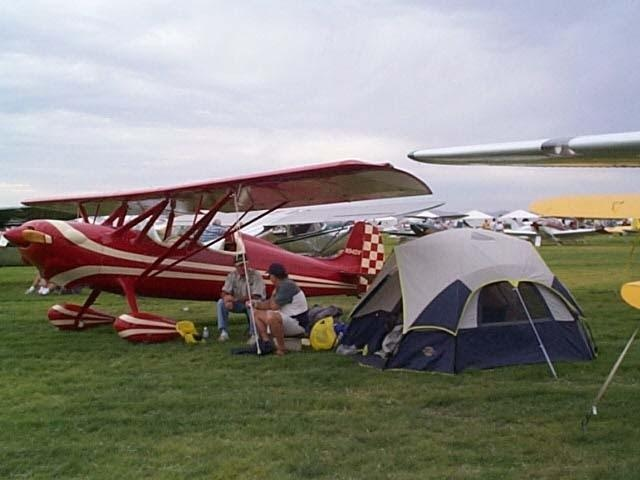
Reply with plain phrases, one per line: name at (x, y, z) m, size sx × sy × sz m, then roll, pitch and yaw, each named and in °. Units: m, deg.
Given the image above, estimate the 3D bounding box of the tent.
tent at (1.924, 0.806, 7.136) m, size 3.065 × 0.909 × 2.538 m, roll -3°, pitch 0°, yaw -12°

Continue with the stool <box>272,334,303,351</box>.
stool at (-0.371, 1.397, 7.431) m, size 0.310 × 0.180 × 0.152 m, roll 0°, pitch 1°, yaw -11°
